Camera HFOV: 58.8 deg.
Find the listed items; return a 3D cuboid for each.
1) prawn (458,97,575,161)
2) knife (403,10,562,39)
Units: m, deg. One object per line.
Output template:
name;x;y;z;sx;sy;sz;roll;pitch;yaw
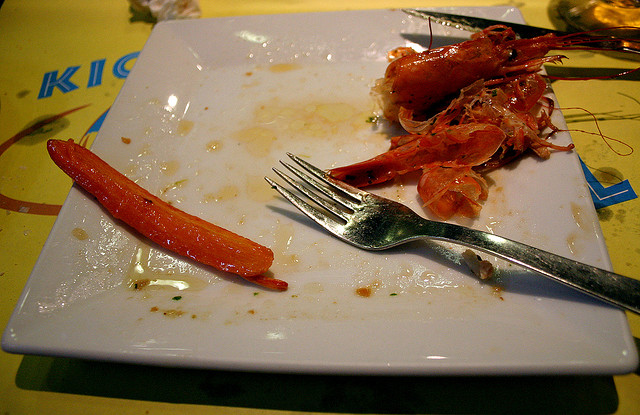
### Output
prawn;0.743;-0.283;2.238;0.430;0.091;0.189;38;65;25
knife;0.689;-0.810;2.523;0.670;0.031;0.071;15;69;15
